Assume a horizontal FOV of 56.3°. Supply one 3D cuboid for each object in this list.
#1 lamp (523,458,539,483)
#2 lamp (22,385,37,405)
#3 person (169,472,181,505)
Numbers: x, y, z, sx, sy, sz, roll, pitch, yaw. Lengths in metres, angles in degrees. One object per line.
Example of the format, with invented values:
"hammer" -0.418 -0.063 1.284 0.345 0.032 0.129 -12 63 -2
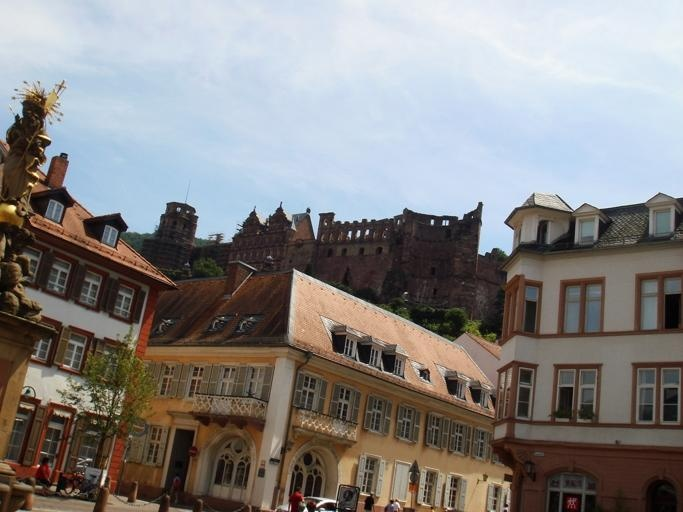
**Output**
"lamp" 7.394 8.391 24.830 0.459 0.704 1.087 0 -25 20
"lamp" -13.766 6.117 28.066 0.270 0.767 0.747 -2 -25 25
"person" -8.856 12.542 33.956 0.509 1.338 1.436 13 -23 -10
